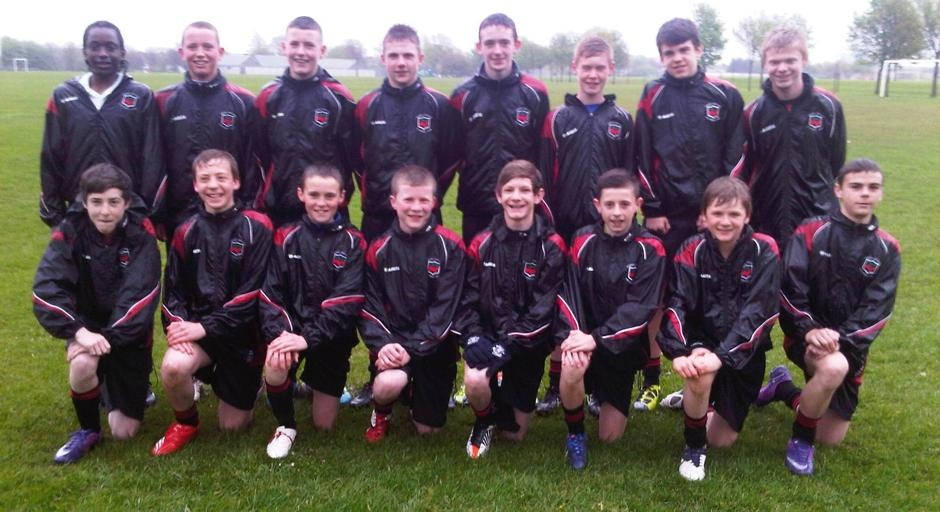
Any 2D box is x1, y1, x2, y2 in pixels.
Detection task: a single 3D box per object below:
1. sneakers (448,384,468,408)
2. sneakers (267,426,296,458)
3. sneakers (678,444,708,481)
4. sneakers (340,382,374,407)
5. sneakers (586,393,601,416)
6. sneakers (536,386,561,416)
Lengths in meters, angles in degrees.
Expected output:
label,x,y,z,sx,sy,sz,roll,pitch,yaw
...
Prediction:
label,x,y,z,sx,sy,sz,roll,pitch,yaw
sneakers,-0.176,1.983,10.160,0.267,0.140,0.340,1,43,-2
sneakers,-2.427,2.315,9.196,0.285,0.233,0.597,14,29,-5
sneakers,2.801,2.540,8.895,0.244,0.224,0.634,-3,18,27
sneakers,-1.601,1.985,10.160,0.209,0.190,0.479,0,-6,20
sneakers,1.700,2.065,10.002,0.183,0.108,0.288,3,28,-9
sneakers,1.088,2.034,9.989,0.195,0.224,0.519,-2,-3,25
